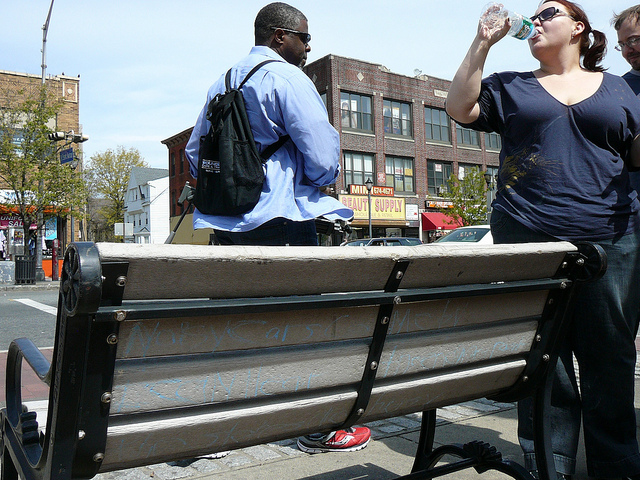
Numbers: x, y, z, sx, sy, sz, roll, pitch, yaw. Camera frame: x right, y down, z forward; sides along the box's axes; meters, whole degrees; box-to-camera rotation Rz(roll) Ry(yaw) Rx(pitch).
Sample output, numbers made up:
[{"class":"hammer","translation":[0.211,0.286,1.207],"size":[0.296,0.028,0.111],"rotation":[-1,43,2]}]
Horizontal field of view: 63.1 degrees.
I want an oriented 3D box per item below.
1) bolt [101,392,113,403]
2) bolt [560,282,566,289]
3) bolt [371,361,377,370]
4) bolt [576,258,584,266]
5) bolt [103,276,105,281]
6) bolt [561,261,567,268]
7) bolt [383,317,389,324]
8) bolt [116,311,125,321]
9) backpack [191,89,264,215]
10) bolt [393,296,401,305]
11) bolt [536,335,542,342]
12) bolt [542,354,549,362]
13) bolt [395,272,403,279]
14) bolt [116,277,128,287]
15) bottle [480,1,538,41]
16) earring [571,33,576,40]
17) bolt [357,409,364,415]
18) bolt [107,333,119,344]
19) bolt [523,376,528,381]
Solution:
[{"class":"bolt","translation":[-0.558,0.412,1.364],"size":[0.025,0.026,0.008],"rotation":[0,6,-10]},{"class":"bolt","translation":[0.963,0.179,2.064],"size":[0.031,0.023,0.015],"rotation":[-1,-1,-39]},{"class":"bolt","translation":[0.179,0.417,1.732],"size":[0.005,0.022,0.021],"rotation":[13,-30,37]},{"class":"bolt","translation":[1.025,0.085,2.055],"size":[0.022,0.023,0.006],"rotation":[-32,-15,24]},{"class":"bolt","translation":[-0.529,0.094,1.277],"size":[0.003,0.011,0.009],"rotation":[-1,-1,7]},{"class":"bolt","translation":[0.967,0.096,2.068],"size":[0.022,0.032,0.011],"rotation":[4,13,-43]},{"class":"bolt","translation":[0.216,0.264,1.708],"size":[0.023,0.016,0.010],"rotation":[-1,-1,-33]},{"class":"bolt","translation":[-0.497,0.188,1.294],"size":[0.023,0.024,0.016],"rotation":[24,2,-32]},{"class":"backpack","translation":[-0.476,-0.451,2.652],"size":[0.418,0.654,0.202],"rotation":[-2,-1,37]},{"class":"bolt","translation":[0.246,0.191,1.658],"size":[0.022,0.022,0.005],"rotation":[-12,19,-43]},{"class":"bolt","translation":[0.896,0.402,2.127],"size":[0.028,0.026,0.012],"rotation":[-1,-1,-35]},{"class":"bolt","translation":[0.931,0.487,2.149],"size":[0.027,0.029,0.008],"rotation":[5,-2,34]},{"class":"bolt","translation":[0.252,0.113,1.661],"size":[0.020,0.020,0.005],"rotation":[-34,45,-18]},{"class":"bolt","translation":[-0.493,0.103,1.294],"size":[0.023,0.023,0.020],"rotation":[-21,41,-27]},{"class":"bottle","translation":[0.855,-0.967,2.336],"size":[0.109,0.153,0.448],"rotation":[-2,-1,41]},{"class":"earring","translation":[1.217,-0.981,2.502],"size":[0.008,0.010,0.032],"rotation":[-1,5,9]},{"class":"bolt","translation":[0.139,0.582,1.759],"size":[0.028,0.013,0.008],"rotation":[-1,-1,-42]},{"class":"bolt","translation":[-0.529,0.253,1.329],"size":[0.023,0.024,0.007],"rotation":[-30,22,-23]},{"class":"bolt","translation":[0.850,0.573,2.158],"size":[0.018,0.019,0.013],"rotation":[26,-25,-22]}]
